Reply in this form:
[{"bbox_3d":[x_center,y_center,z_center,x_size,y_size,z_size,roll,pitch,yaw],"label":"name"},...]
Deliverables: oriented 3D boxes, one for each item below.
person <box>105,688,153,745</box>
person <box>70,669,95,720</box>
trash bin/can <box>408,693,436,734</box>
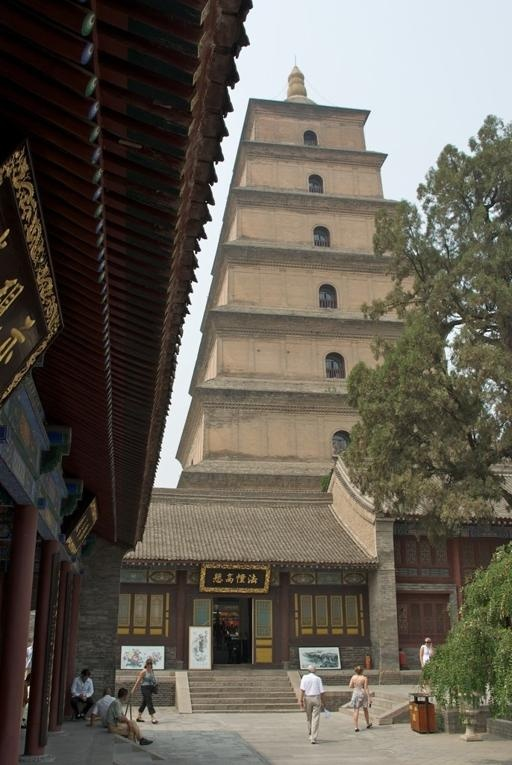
[{"bbox_3d":[-1.683,4.297,8.238,0.497,0.688,0.927,3,-24,-7],"label":"person"},{"bbox_3d":[-2.757,4.940,10.115,0.378,0.780,0.435,6,-47,-18],"label":"person"},{"bbox_3d":[2.862,5.713,11.111,0.473,0.597,0.557,-14,-27,30],"label":"trash bin/can"}]
